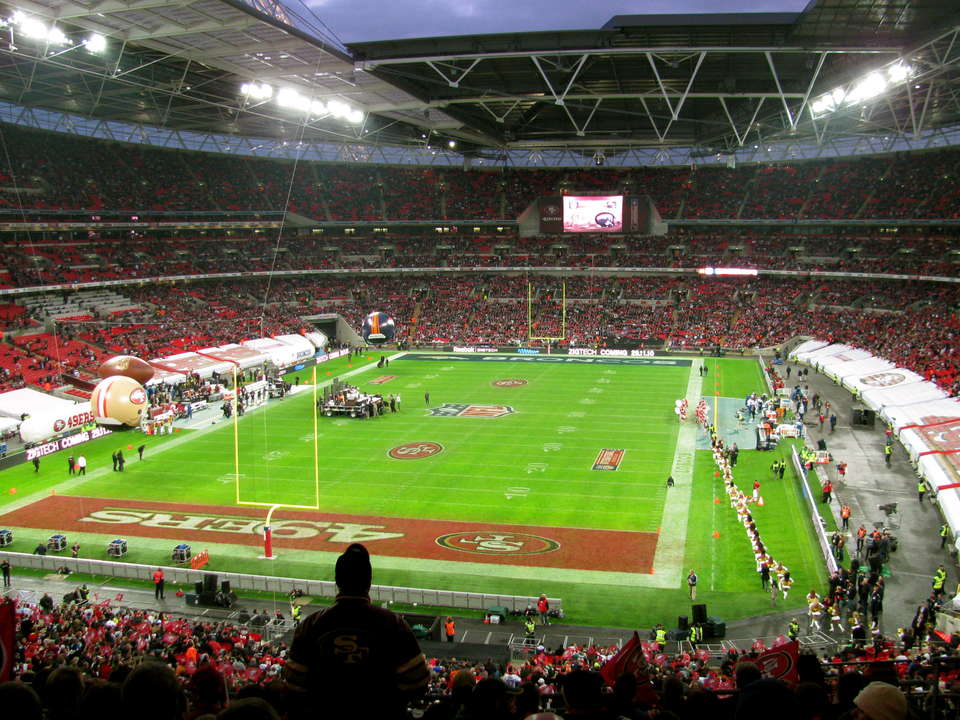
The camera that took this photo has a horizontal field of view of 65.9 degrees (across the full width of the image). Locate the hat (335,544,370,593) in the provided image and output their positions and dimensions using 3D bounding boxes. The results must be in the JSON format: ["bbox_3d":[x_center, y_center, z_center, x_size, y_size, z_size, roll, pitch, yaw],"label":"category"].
[{"bbox_3d":[-0.843,1.451,5.178,0.362,0.300,0.387,0,0,-6],"label":"hat"}]
